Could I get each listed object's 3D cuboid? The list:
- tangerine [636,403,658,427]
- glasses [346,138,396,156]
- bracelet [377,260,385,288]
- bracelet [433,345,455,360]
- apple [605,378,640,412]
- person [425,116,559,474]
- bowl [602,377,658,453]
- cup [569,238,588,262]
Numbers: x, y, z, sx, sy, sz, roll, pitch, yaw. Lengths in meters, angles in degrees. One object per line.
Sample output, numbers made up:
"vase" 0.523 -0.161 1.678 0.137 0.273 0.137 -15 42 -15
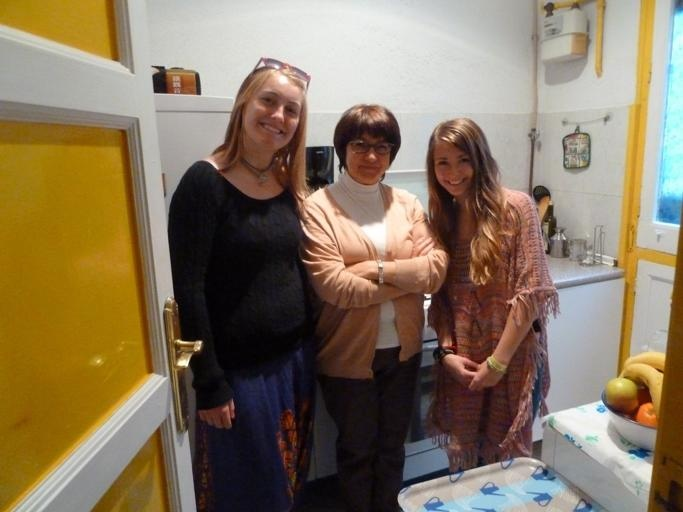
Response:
"tangerine" 0.639 0.332 1.043 0.035 0.040 0.038 -1 0 -12
"glasses" 0.105 -0.390 1.797 0.166 0.055 0.071 -1 13 -3
"bracelet" 0.133 0.058 1.702 0.021 0.072 0.026 1 12 3
"bracelet" 0.378 0.352 1.859 0.063 0.041 0.050 -1 11 0
"apple" 0.607 0.300 1.082 0.065 0.069 0.067 7 14 36
"person" 0.523 0.173 1.819 0.485 1.299 0.289 6 13 25
"bowl" 0.592 0.341 1.079 0.134 0.066 0.138 0 7 0
"cup" 1.296 -0.027 2.748 0.075 0.124 0.124 -2 13 -3
